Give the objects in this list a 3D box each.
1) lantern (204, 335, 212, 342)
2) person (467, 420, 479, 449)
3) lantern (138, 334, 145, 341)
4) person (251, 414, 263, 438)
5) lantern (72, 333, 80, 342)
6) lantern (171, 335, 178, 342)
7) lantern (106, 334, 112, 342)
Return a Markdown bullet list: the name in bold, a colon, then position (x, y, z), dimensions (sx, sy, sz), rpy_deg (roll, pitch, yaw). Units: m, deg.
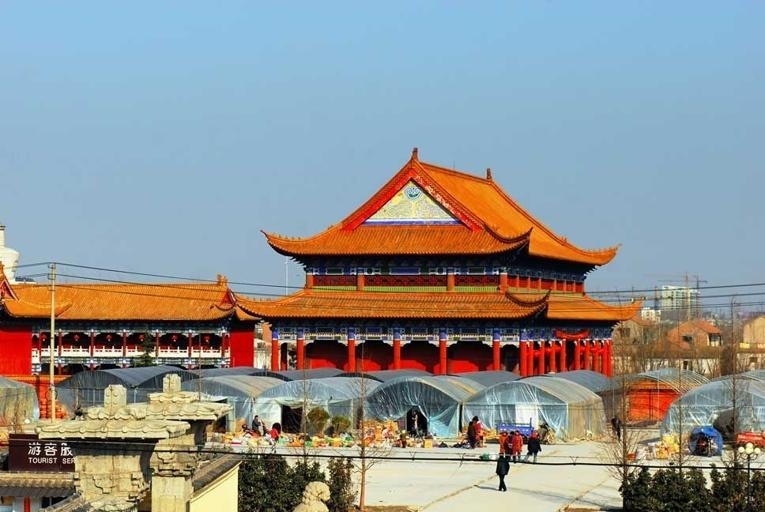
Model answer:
- **lantern**: position (-13.940, 6.515, 157.945), dimensions (0.567, 0.603, 0.553), rpy_deg (-4, 0, -34)
- **person**: position (5.352, 10.497, 118.350), dimensions (0.610, 1.807, 0.910), rpy_deg (-5, -15, 15)
- **lantern**: position (-19.254, 6.400, 157.496), dimensions (0.641, 0.584, 0.618), rpy_deg (-3, 3, -18)
- **person**: position (-7.685, 10.333, 121.388), dimensions (0.759, 1.501, 0.883), rpy_deg (12, -24, -39)
- **lantern**: position (-24.564, 6.473, 159.323), dimensions (0.670, 0.601, 0.473), rpy_deg (3, -15, -15)
- **lantern**: position (-16.561, 6.453, 158.129), dimensions (0.494, 0.515, 0.450), rpy_deg (-2, -1, -34)
- **lantern**: position (-21.832, 6.459, 158.728), dimensions (0.555, 0.614, 0.536), rpy_deg (0, 0, -22)
